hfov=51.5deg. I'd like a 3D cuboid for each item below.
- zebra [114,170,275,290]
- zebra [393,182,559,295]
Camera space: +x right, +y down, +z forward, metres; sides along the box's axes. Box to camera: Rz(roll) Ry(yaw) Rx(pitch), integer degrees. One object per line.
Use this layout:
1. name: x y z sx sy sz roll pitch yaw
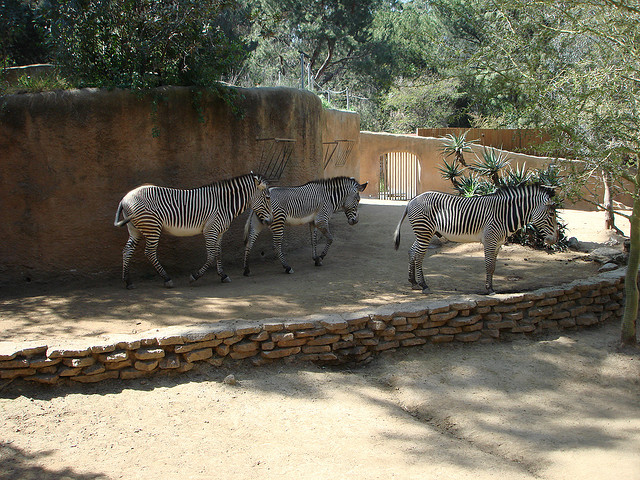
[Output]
1. zebra: -2.122 -0.177 11.507 3.015 1.664 0.782 -3 4 -32
2. zebra: 2.552 -0.040 10.777 2.336 1.831 0.767 3 16 5
